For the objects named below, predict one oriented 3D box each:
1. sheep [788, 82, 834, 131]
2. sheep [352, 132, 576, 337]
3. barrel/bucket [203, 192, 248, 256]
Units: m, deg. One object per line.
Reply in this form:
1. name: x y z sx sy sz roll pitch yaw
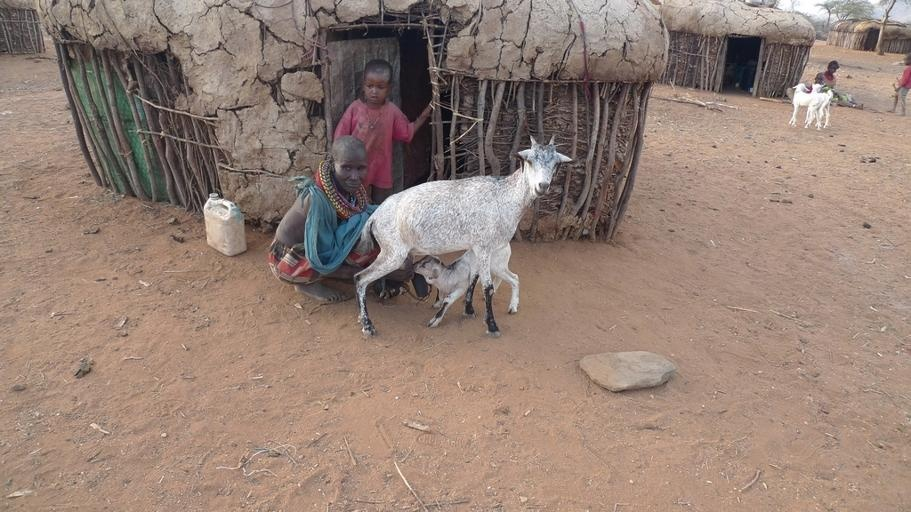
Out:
1. sheep: 10.717 -4.532 18.958 1.121 1.130 1.698 17 30 26
2. sheep: 0.098 -0.284 9.527 4.049 3.330 1.356 -6 33 -3
3. barrel/bucket: -3.734 -0.531 10.324 0.778 0.836 0.455 22 33 29
